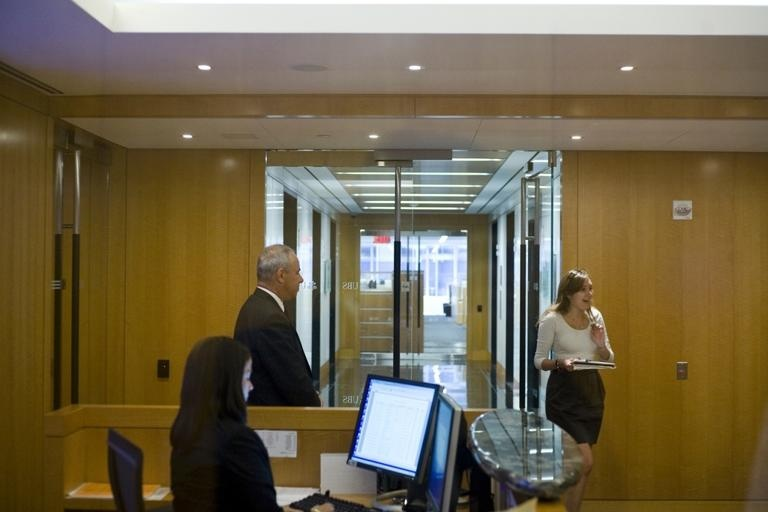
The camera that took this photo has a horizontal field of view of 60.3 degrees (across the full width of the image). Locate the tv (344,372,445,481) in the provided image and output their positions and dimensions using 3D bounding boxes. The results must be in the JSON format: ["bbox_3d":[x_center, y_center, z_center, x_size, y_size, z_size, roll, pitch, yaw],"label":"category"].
[{"bbox_3d":[0.055,0.942,3.565,0.552,0.555,0.045,13,1,36],"label":"tv"}]

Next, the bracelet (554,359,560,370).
[{"bbox_3d":[1.229,0.777,4.735,0.018,0.055,0.041,3,6,8],"label":"bracelet"}]

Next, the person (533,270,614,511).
[{"bbox_3d":[1.398,0.852,4.834,0.587,1.486,0.299,3,-4,-21],"label":"person"}]
